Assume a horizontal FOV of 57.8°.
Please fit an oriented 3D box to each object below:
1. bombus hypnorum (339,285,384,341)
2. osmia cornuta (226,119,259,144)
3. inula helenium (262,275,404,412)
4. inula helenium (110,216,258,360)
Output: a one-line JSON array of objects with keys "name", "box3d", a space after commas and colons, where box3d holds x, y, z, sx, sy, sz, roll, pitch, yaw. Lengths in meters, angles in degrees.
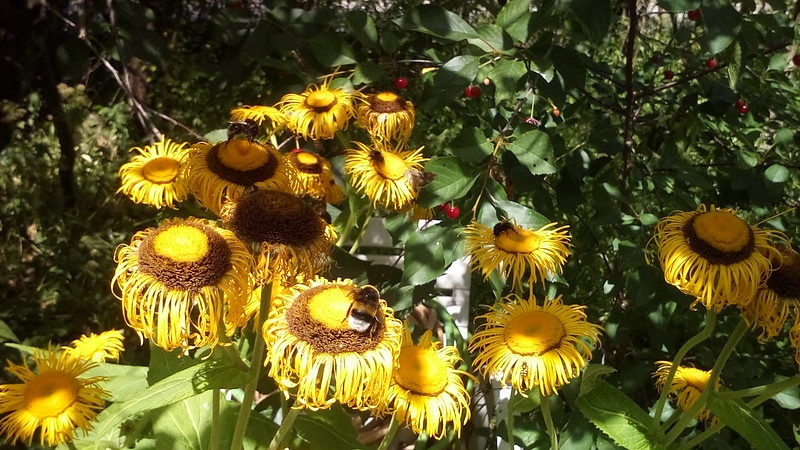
[{"name": "bombus hypnorum", "box3d": [-0.126, 0.289, 2.476, 0.125, 0.158, 0.106, 4, 25, -2]}, {"name": "osmia cornuta", "box3d": [-0.604, -0.380, 2.778, 0.114, 0.069, 0.195, 1, 26, -10]}, {"name": "inula helenium", "box3d": [-0.241, 0.414, 2.538, 0.474, 0.409, 0.332, 5, 25, -1]}, {"name": "inula helenium", "box3d": [-0.744, 0.204, 2.504, 0.446, 0.399, 0.262, 0, 26, -12]}]
